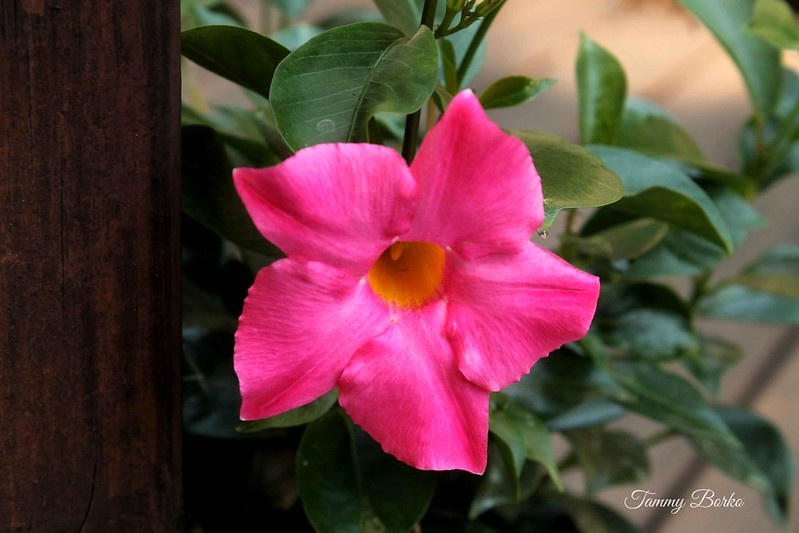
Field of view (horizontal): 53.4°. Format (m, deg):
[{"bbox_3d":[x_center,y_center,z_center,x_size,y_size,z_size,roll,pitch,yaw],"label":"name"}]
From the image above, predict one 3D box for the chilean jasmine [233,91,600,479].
[{"bbox_3d":[0.017,0.028,0.808,0.375,0.283,0.282,-7,51,-13],"label":"chilean jasmine"}]
